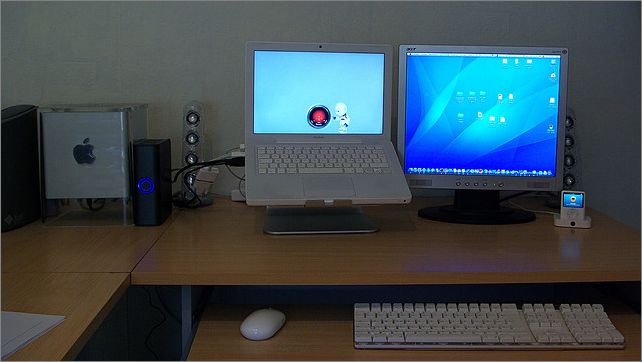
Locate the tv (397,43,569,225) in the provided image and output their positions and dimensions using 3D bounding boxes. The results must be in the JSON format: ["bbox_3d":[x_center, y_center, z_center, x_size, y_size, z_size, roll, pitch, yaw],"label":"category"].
[{"bbox_3d":[0.658,-0.207,2.078,0.862,0.790,0.309,1,3,2],"label":"tv"}]

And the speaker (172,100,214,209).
[{"bbox_3d":[-0.569,-0.120,2.219,0.165,0.442,0.251,-3,13,-15],"label":"speaker"}]

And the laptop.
[{"bbox_3d":[-0.013,-0.308,2.284,0.651,0.407,0.517,0,-6,0],"label":"laptop"}]

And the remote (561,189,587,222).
[{"bbox_3d":[0.998,0.103,2.010,0.131,0.161,0.018,6,-20,10],"label":"remote"}]
